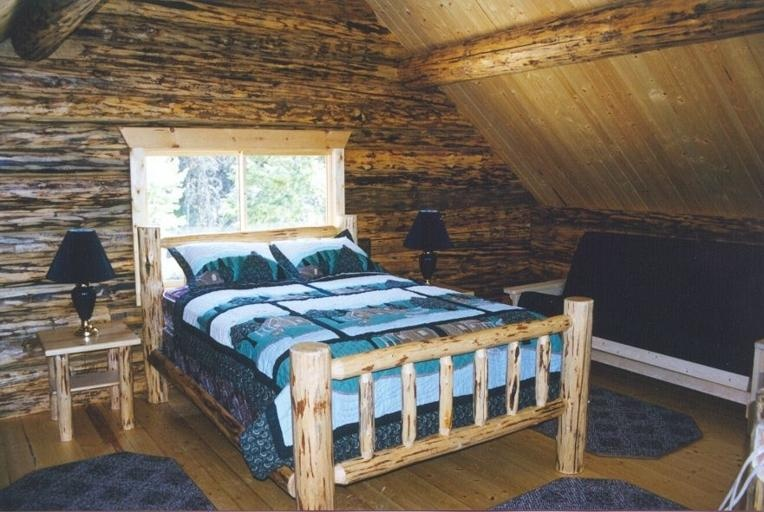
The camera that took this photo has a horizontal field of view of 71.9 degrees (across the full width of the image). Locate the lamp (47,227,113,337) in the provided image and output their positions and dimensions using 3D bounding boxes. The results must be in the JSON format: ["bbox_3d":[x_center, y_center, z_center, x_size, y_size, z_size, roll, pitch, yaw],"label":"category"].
[{"bbox_3d":[-2.303,0.211,4.034,0.391,0.816,0.310,-16,21,-42],"label":"lamp"}]

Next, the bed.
[{"bbox_3d":[-0.400,0.252,4.006,2.341,1.265,2.867,-7,12,-31],"label":"bed"}]

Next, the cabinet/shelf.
[{"bbox_3d":[-2.308,0.934,4.185,0.657,0.748,0.782,-11,17,-32],"label":"cabinet/shelf"}]
